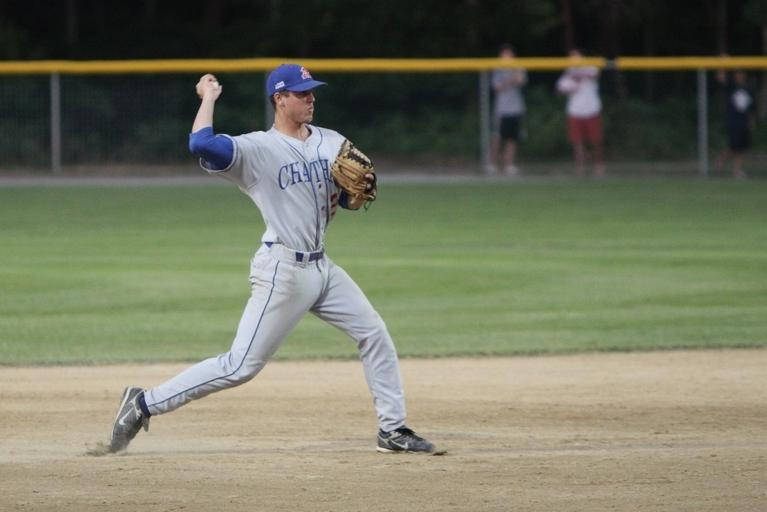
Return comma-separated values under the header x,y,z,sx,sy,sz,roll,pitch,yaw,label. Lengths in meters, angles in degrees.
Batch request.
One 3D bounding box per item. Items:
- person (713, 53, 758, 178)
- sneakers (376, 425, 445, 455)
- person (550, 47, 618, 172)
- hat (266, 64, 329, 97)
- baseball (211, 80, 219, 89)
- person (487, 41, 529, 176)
x,y,z,sx,sy,sz,roll,pitch,yaw,label
4.438,-1.686,21.421,0.470,1.376,0.673,-5,0,15,person
0.249,1.919,17.618,0.782,0.248,0.259,1,-3,0,sneakers
2.515,-1.659,20.930,0.575,1.525,0.549,-5,0,-11,person
-0.887,-1.832,17.356,0.680,0.281,0.477,5,19,43,hat
-1.698,-1.755,17.173,0.069,0.086,0.124,-5,0,15,baseball
1.547,-1.654,20.891,0.546,1.557,0.309,-5,0,-1,person
